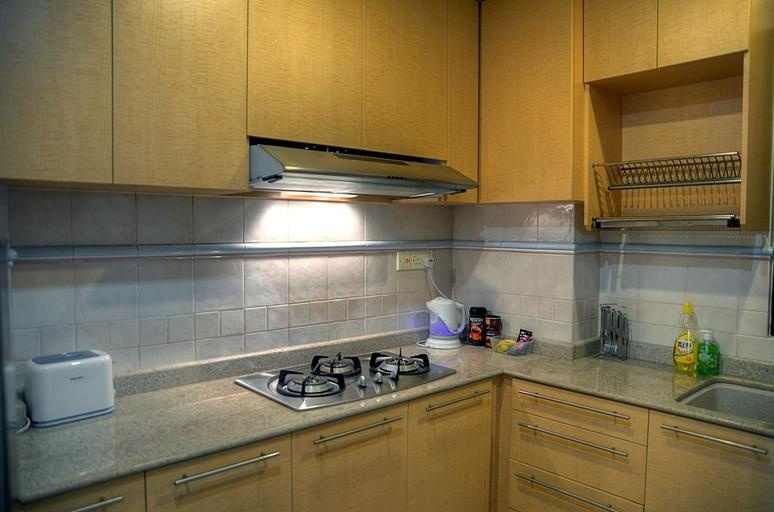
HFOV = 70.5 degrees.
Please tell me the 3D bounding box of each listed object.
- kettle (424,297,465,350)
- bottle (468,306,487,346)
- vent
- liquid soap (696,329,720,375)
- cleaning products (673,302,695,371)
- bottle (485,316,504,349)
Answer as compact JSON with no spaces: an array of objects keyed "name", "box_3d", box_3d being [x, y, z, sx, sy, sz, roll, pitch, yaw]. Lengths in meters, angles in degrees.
[{"name":"kettle","box_3d":[0.342,0.407,3.341,0.314,0.309,0.267,2,2,22]},{"name":"bottle","box_3d":[0.552,0.436,3.401,0.109,0.215,0.115,1,15,0]},{"name":"vent","box_3d":[-0.131,-0.437,2.767,1.091,0.201,0.424,-2,1,-37]},{"name":"liquid soap","box_3d":[1.688,0.513,2.887,0.121,0.216,0.170,8,16,25]},{"name":"cleaning products","box_3d":[1.608,0.426,2.941,0.113,0.365,0.183,9,16,25]},{"name":"bottle","box_3d":[0.643,0.465,3.365,0.109,0.163,0.204,5,14,12]}]
